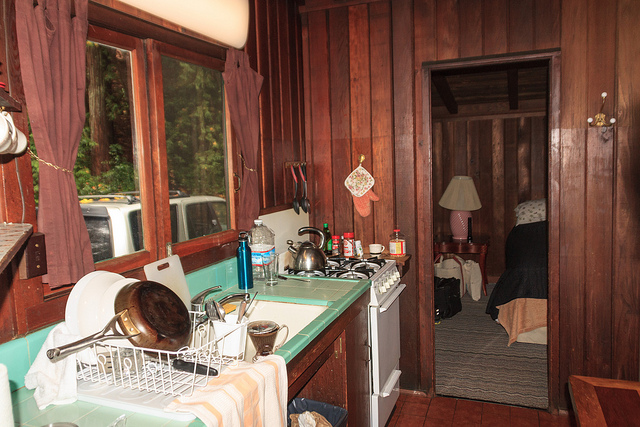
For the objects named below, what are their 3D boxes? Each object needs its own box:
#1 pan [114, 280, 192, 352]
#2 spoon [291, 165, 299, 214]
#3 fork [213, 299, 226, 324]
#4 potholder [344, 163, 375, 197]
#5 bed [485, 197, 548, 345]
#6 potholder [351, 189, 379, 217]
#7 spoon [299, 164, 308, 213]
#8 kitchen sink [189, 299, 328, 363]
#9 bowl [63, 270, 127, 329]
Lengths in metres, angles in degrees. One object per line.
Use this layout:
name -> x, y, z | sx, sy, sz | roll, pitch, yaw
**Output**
pan -> -0.693, 0.429, 1.849 | 0.271, 0.260, 0.208 | -9, 12, -32
spoon -> -0.201, -0.192, 3.530 | 0.039, 0.405, 0.108 | -2, 11, 6
fork -> -0.468, 0.463, 2.078 | 0.032, 0.090, 0.081 | -11, -4, -8
potholder -> 0.320, -0.274, 3.620 | 0.240, 0.259, 0.060 | 3, 12, 28
bed -> 2.199, 0.588, 4.836 | 0.948, 0.568, 1.395 | -13, 13, 22
potholder -> 0.356, -0.078, 3.657 | 0.242, 0.073, 0.287 | 11, -37, -35
spoon -> -0.121, -0.207, 3.626 | 0.048, 0.341, 0.066 | -3, 2, 29
kitchen sink -> -0.274, 0.611, 2.451 | 0.410, 0.279, 0.442 | 2, 7, 19
bowl -> -0.937, 0.355, 1.889 | 0.237, 0.215, 0.147 | 18, 9, 15
